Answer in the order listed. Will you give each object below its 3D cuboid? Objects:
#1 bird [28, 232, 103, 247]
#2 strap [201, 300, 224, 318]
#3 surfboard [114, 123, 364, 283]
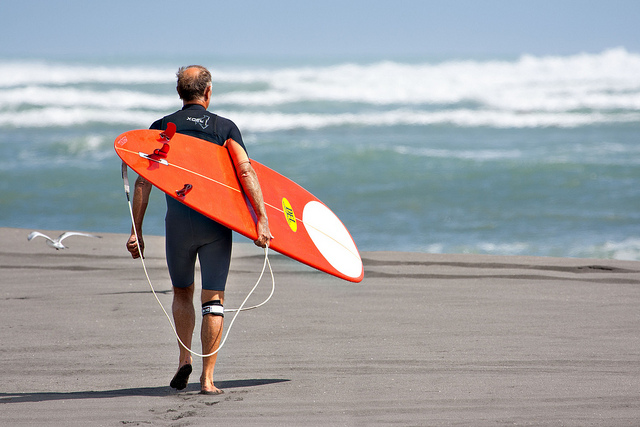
[{"bbox_3d":[-5.246,0.516,27.371,1.091,0.287,1.485,2,6,14],"label":"bird"},{"bbox_3d":[-1.803,1.612,22.856,0.335,0.181,0.282,2,-2,-6],"label":"strap"},{"bbox_3d":[-1.585,0.048,23.837,6.170,1.684,1.333,24,-30,-18],"label":"surfboard"}]
